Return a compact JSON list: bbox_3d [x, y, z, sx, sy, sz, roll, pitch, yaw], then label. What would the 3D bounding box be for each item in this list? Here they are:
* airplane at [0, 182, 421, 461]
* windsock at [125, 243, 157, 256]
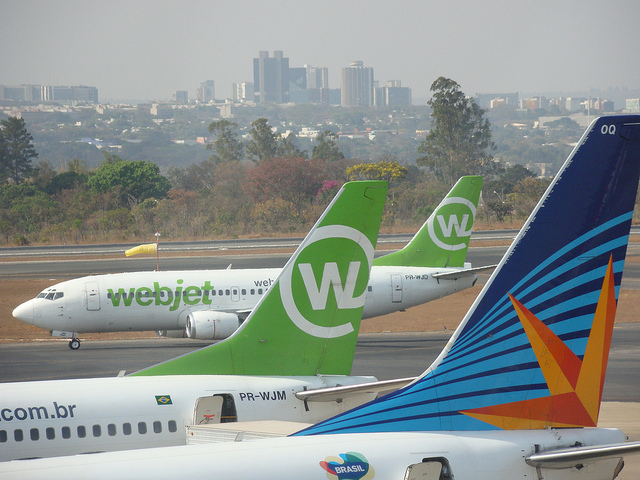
[{"bbox_3d":[-6.331,5.135,68.812,15.671,9.066,15.557,0,0,-14],"label":"airplane"},{"bbox_3d":[-14.686,0.941,108.585,1.961,0.567,1.096,-5,3,-3],"label":"windsock"}]
